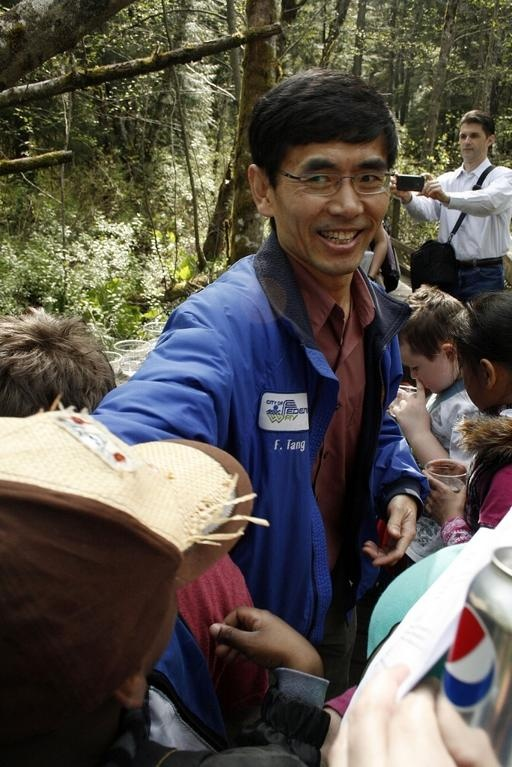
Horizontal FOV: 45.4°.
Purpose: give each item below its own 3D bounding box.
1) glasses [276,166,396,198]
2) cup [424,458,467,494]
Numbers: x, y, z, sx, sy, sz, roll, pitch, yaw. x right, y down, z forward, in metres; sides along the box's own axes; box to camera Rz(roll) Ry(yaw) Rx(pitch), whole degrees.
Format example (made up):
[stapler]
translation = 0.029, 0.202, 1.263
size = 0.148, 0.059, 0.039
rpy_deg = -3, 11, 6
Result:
[glasses]
translation = 0.260, -0.578, 1.775
size = 0.370, 0.083, 0.150
rpy_deg = -9, 19, -36
[cup]
translation = 0.780, 0.372, 2.519
size = 0.147, 0.109, 0.135
rpy_deg = 3, 22, -1
